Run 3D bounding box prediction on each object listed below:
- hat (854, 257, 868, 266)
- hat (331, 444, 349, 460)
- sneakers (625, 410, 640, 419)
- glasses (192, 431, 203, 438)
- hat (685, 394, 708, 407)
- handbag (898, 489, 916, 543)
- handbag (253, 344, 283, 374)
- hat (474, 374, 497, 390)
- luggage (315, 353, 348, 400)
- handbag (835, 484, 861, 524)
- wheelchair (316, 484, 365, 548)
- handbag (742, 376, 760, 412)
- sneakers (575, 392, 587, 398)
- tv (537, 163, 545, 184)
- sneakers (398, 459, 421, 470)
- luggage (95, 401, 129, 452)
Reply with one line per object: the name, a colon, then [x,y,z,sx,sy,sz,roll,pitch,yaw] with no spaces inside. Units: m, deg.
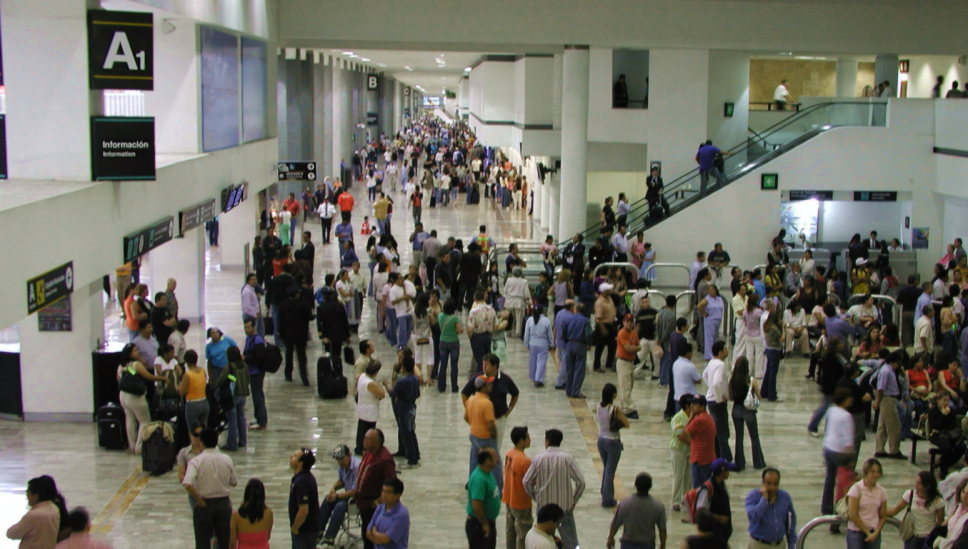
hat: [10.138,-0.355,22.790,0.209,0.069,0.212,-28,19,30]
hat: [-2.246,2.791,13.259,0.198,0.202,0.282,1,2,-21]
sneakers: [2.962,2.828,16.965,0.319,0.138,0.140,-2,5,12]
glasses: [-4.313,2.417,12.719,0.119,0.086,0.118,-9,17,-30]
hat: [3.443,2.043,13.656,0.270,0.151,0.176,6,5,10]
handbag: [6.413,3.686,12.840,0.175,0.613,0.145,1,1,-20]
handbag: [-4.131,1.625,16.161,0.561,0.585,0.409,-5,15,-14]
hat: [0.007,1.765,13.863,0.292,0.202,0.233,8,8,25]
luggage: [-3.201,2.210,17.802,0.535,0.892,0.478,2,2,-34]
handbag: [5.428,3.386,12.609,0.307,0.429,0.364,2,1,23]
wheelchair: [-2.323,3.779,13.344,0.703,1.070,0.471,2,1,13]
handbag: [4.642,2.083,14.706,0.474,0.623,0.201,0,2,-42]
sneakers: [2.019,2.558,17.777,0.227,0.097,0.084,0,5,9]
tv: [2.201,-3.926,32.698,0.150,0.633,0.626,-4,1,-5]
sneakers: [-1.367,3.428,15.354,0.384,0.265,0.141,5,9,11]
luggage: [-7.014,2.856,16.005,0.568,0.847,0.468,0,-3,-5]
